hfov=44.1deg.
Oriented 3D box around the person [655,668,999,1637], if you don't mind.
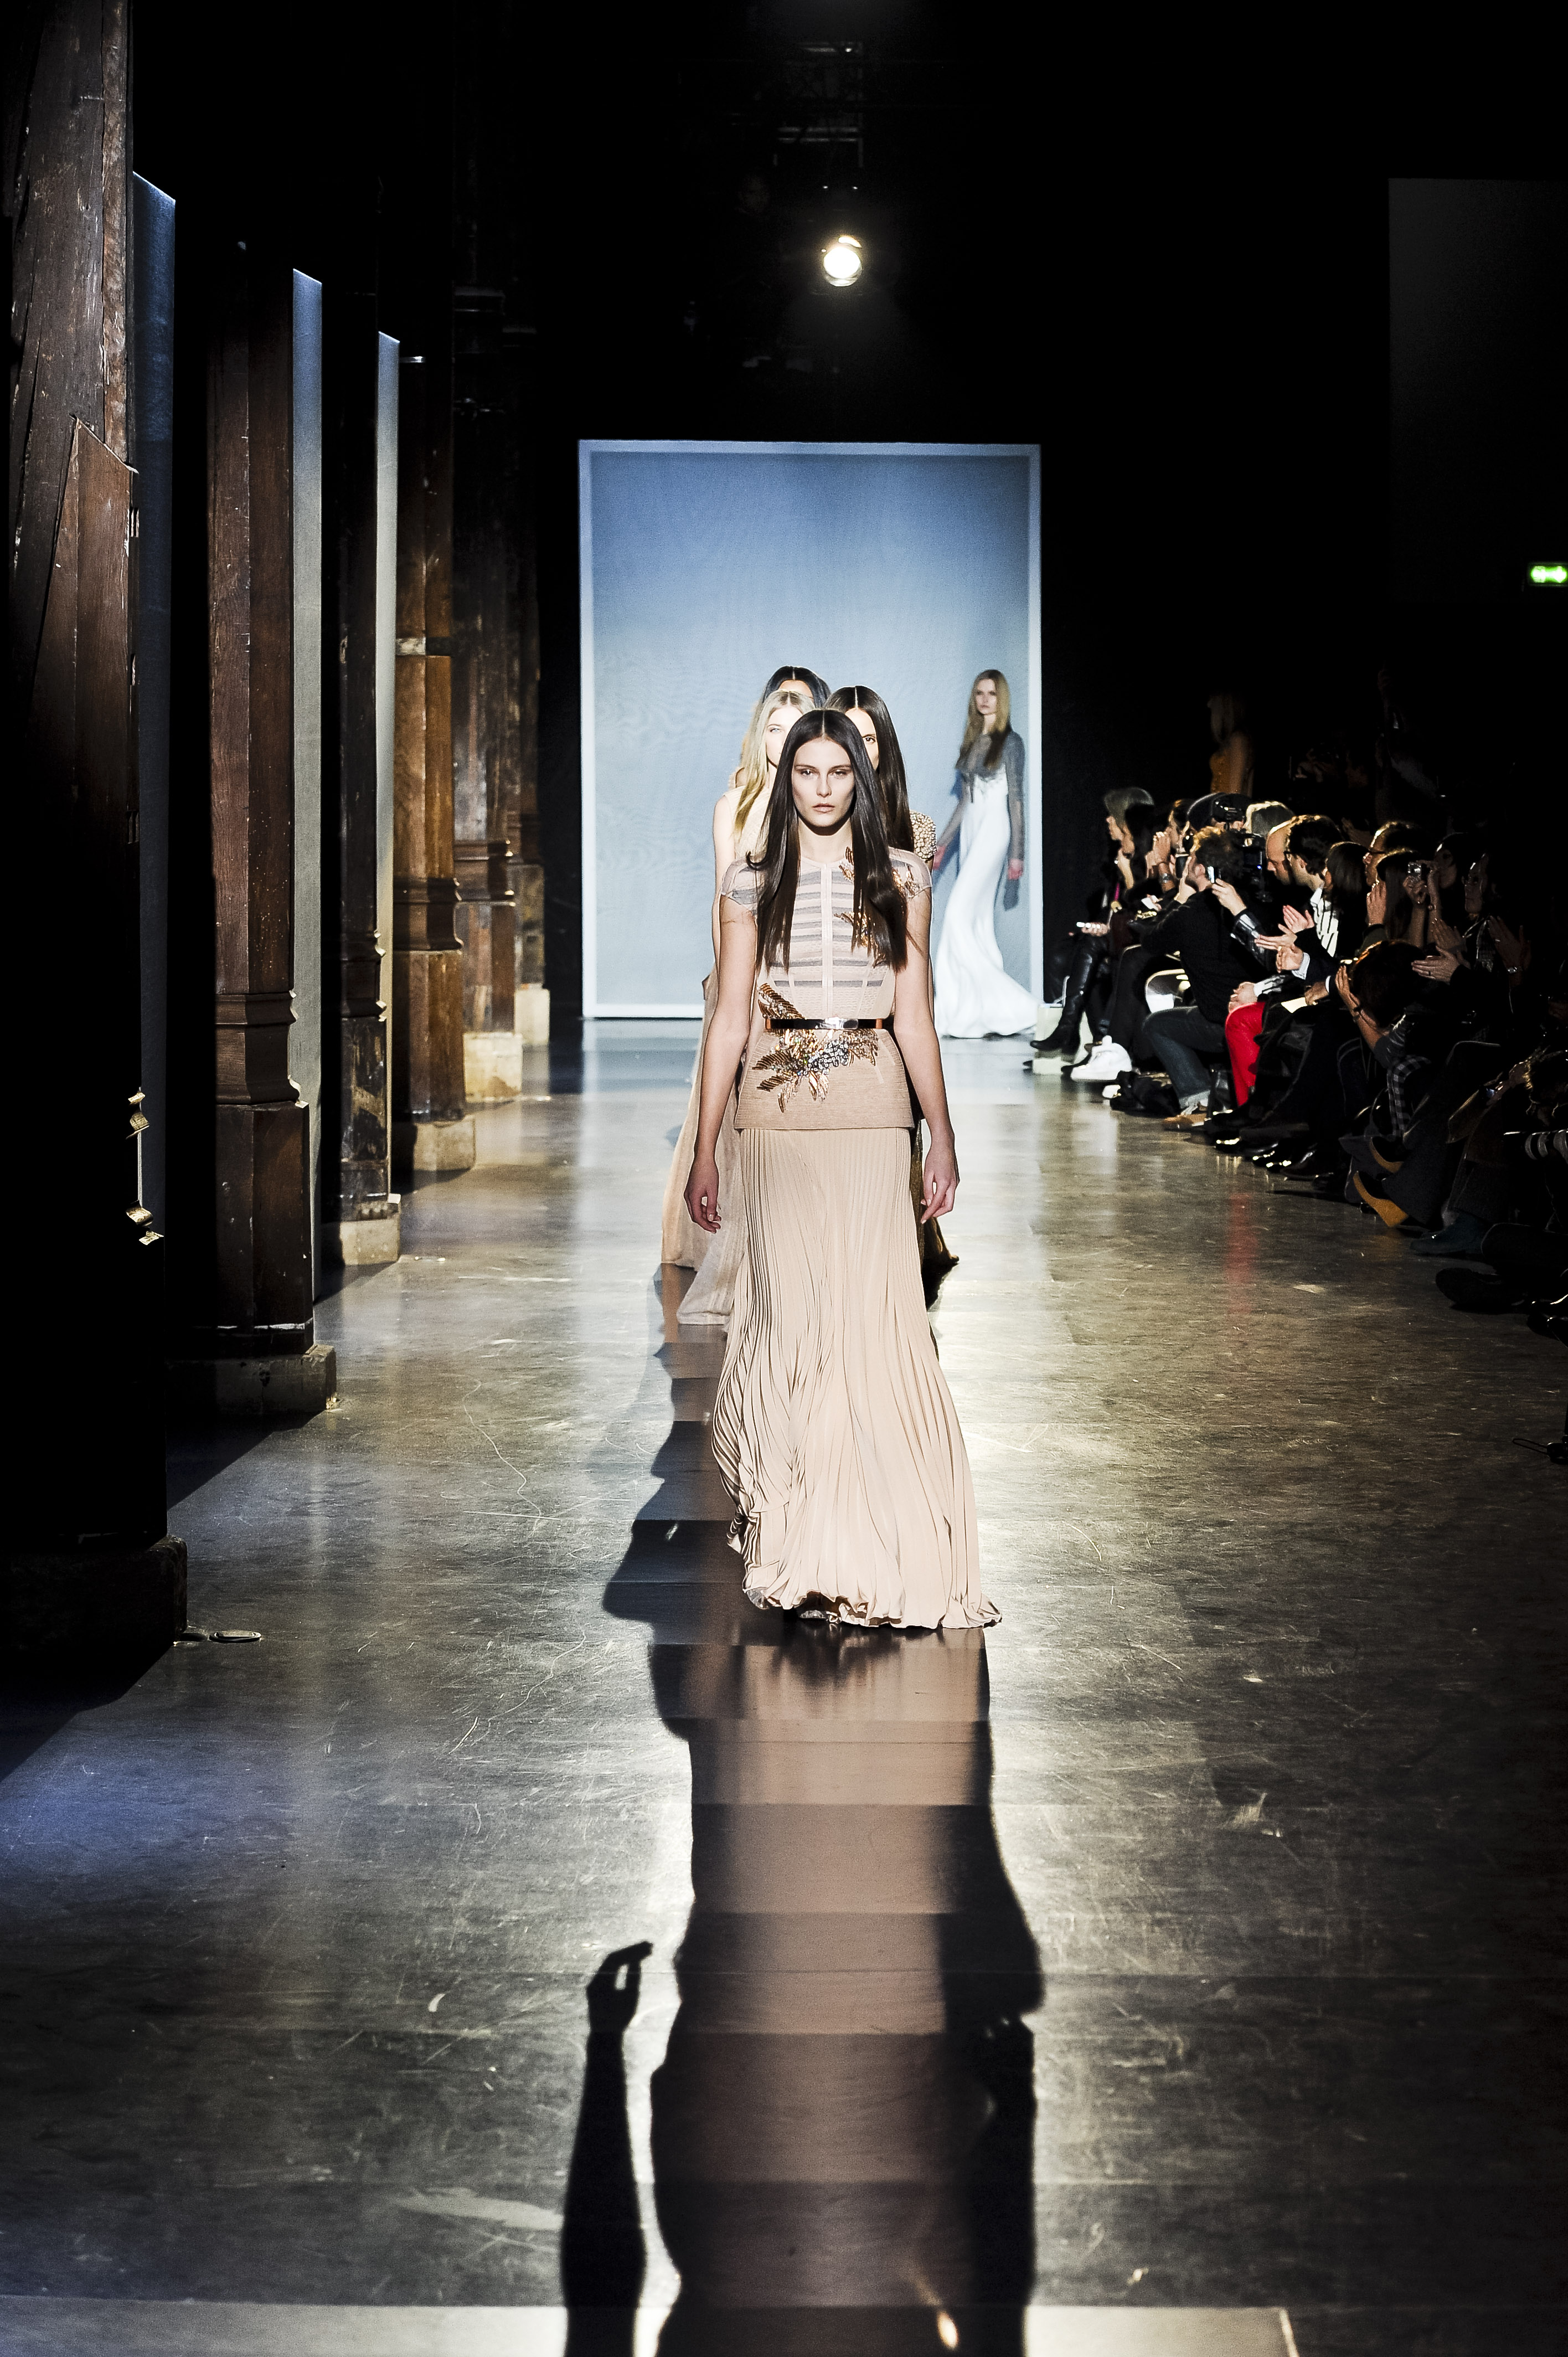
[{"bbox_3d":[0.095,-0.027,3.547,0.584,1.632,0.391,-1,-1,11],"label":"person"}]
